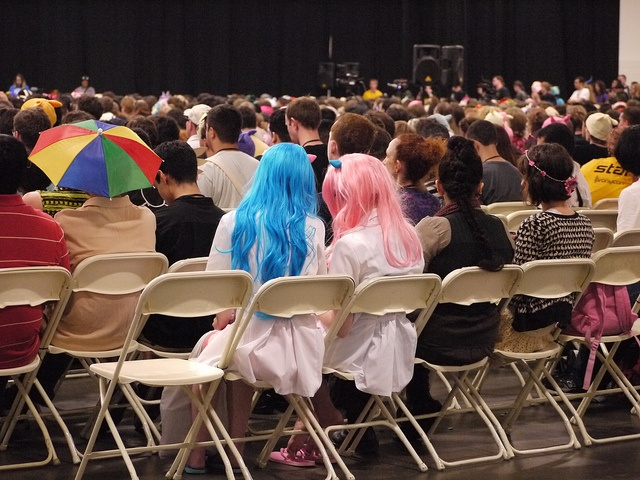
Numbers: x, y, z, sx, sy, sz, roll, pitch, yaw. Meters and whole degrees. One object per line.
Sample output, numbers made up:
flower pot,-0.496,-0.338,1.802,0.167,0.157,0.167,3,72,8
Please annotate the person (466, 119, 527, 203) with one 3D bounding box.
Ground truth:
person,1.521,-0.687,6.713,0.795,0.721,0.435,-10,6,-40

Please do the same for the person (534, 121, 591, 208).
person,2.175,-0.595,6.688,0.390,0.896,0.570,-15,-8,39

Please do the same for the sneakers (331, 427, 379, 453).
sneakers,0.203,1.240,4.702,0.322,0.148,0.131,2,3,43

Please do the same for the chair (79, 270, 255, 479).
chair,-0.794,0.732,4.014,0.906,1.213,0.718,1,8,6

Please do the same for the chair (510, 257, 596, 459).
chair,1.384,0.689,4.716,0.587,1.202,0.405,-2,8,-19
